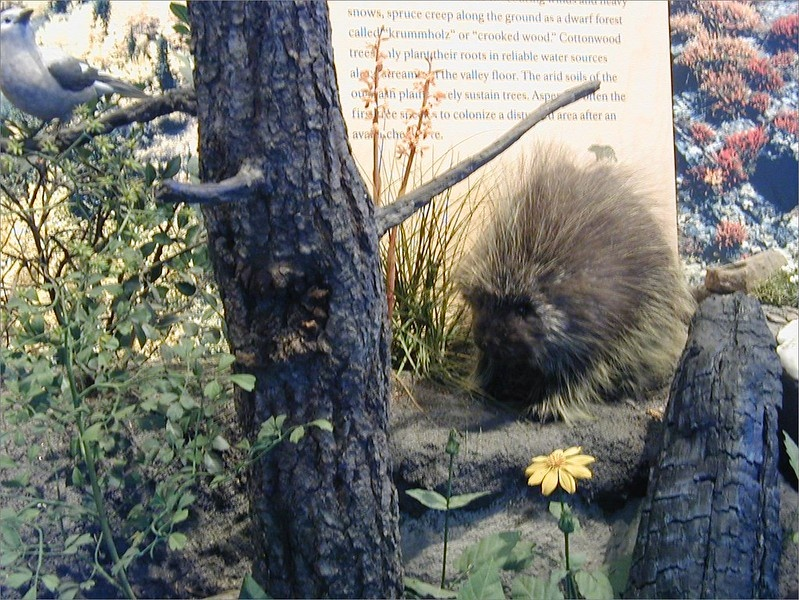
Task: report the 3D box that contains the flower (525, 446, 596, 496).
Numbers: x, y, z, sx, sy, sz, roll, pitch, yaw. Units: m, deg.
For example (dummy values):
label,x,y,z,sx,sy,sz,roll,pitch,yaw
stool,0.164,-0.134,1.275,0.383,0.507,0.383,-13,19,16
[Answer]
label,x,y,z,sx,sy,sz,roll,pitch,yaw
flower,0.405,0.434,2.855,0.167,0.115,0.135,-1,-8,-1
